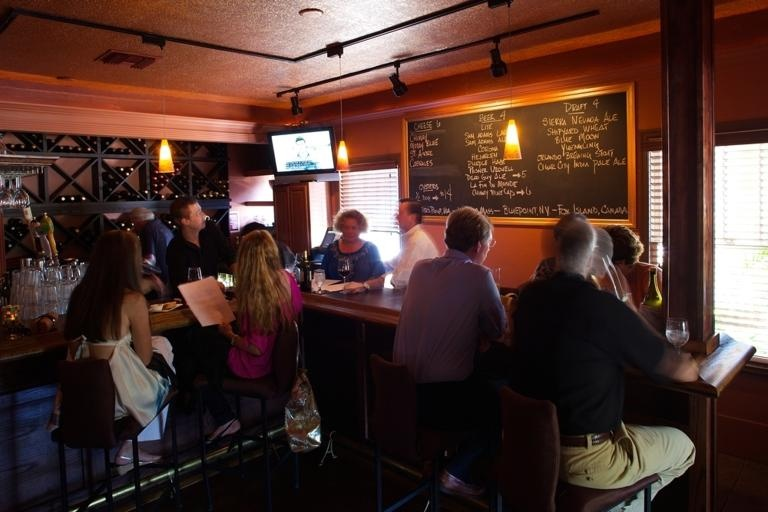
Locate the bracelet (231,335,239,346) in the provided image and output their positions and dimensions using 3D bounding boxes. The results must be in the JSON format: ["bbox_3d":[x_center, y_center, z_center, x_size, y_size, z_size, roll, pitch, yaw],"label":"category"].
[{"bbox_3d":[-0.974,0.550,3.654,0.058,0.051,0.057,1,-2,26],"label":"bracelet"}]

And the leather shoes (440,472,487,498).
[{"bbox_3d":[0.460,1.367,3.342,0.189,0.074,0.165,19,-12,-19],"label":"leather shoes"}]

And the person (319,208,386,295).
[{"bbox_3d":[-0.259,-0.064,4.755,0.694,0.750,0.660,0,5,-2],"label":"person"}]

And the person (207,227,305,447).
[{"bbox_3d":[-0.831,0.317,3.727,0.539,0.967,0.272,-5,9,-9],"label":"person"}]

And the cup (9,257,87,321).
[{"bbox_3d":[-2.386,0.186,4.054,0.511,0.463,0.465,4,1,0],"label":"cup"}]

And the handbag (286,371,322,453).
[{"bbox_3d":[-0.546,1.017,3.691,0.215,0.564,0.141,-6,9,-13],"label":"handbag"}]

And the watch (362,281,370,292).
[{"bbox_3d":[-0.144,0.237,4.586,0.018,0.054,0.054,-41,-37,21],"label":"watch"}]

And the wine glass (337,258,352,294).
[{"bbox_3d":[-0.320,0.126,4.553,0.097,0.274,0.278,-4,9,-3],"label":"wine glass"}]
